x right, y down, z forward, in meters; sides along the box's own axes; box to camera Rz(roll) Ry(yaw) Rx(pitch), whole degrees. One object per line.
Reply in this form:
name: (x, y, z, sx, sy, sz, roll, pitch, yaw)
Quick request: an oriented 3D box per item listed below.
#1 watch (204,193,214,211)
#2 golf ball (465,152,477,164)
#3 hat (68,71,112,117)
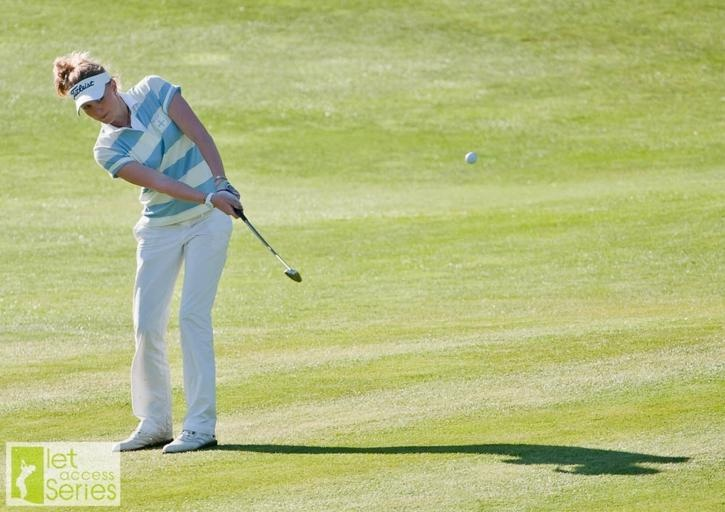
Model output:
watch: (-1.143, -0.419, 12.700, 0.056, 0.088, 0.076, 1, 8, 3)
golf ball: (1.036, -0.934, 16.205, 0.121, 0.098, 0.062, -18, 23, -22)
hat: (-1.987, -1.210, 12.636, 0.266, 0.116, 0.336, -24, 18, 21)
